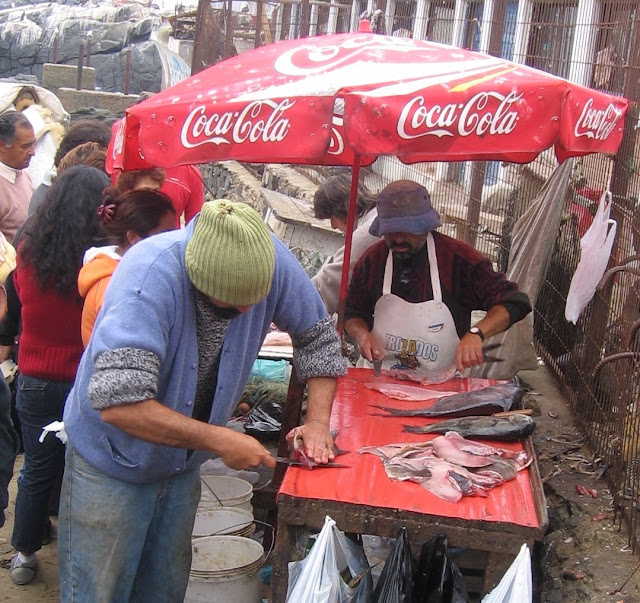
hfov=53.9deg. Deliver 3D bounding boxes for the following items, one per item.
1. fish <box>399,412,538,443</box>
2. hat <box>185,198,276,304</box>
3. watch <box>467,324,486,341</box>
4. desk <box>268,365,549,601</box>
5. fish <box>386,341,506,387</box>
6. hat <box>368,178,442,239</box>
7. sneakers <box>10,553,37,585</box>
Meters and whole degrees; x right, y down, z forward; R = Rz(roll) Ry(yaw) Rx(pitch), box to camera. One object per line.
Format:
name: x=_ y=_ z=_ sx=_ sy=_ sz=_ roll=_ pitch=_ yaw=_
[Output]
fish: x=0.655 y=0.554 z=2.776 sx=0.481 sy=0.084 sz=0.142 roll=-1 pitch=5 yaw=0
hat: x=-0.280 y=-0.177 z=1.953 sx=0.254 sy=0.242 sz=0.309 roll=-23 pitch=46 yaw=-19
watch: x=0.869 y=0.166 z=3.477 sx=0.032 sy=0.081 sz=0.079 roll=-44 pitch=47 yaw=-14
desk: x=0.309 y=0.322 z=2.307 sx=0.718 sy=0.683 sz=1.307 roll=1 pitch=17 yaw=2
fish: x=0.741 y=0.393 z=3.608 sx=0.701 sy=0.172 sz=0.428 roll=-2 pitch=1 yaw=4
hat: x=0.482 y=-0.541 z=3.638 sx=0.289 sy=0.208 sz=0.353 roll=-6 pitch=17 yaw=4
sneakers: x=-1.721 y=1.553 z=3.653 sx=0.113 sy=0.097 sz=0.226 roll=10 pitch=28 yaw=-17
